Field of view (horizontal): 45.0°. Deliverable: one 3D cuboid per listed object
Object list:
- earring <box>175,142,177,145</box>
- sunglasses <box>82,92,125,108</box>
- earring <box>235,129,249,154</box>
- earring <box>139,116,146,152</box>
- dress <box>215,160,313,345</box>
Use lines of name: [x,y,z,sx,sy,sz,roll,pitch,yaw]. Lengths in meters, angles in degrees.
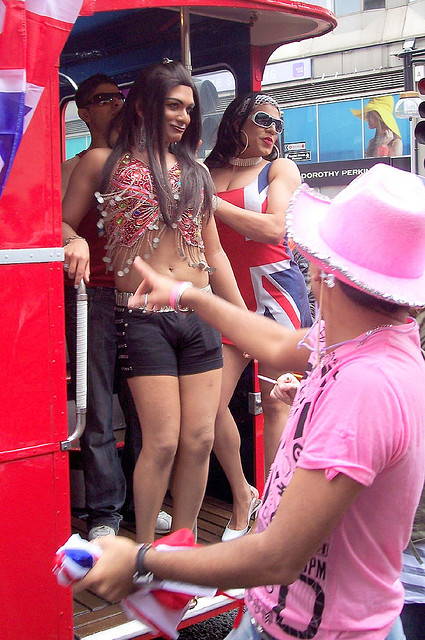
earring: [-0.175,-0.856,2.497,0.010,0.011,0.014,2,3,1]
sunglasses: [-0.647,-1.301,3.043,0.238,0.105,0.103,1,3,-13]
earring: [0.202,-1.093,3.155,0.058,0.149,0.019,3,3,24]
earring: [-0.313,-0.837,2.313,0.026,0.173,0.087,1,3,-11]
dress: [0.292,-0.258,3.303,0.528,1.532,0.515,15,27,35]
